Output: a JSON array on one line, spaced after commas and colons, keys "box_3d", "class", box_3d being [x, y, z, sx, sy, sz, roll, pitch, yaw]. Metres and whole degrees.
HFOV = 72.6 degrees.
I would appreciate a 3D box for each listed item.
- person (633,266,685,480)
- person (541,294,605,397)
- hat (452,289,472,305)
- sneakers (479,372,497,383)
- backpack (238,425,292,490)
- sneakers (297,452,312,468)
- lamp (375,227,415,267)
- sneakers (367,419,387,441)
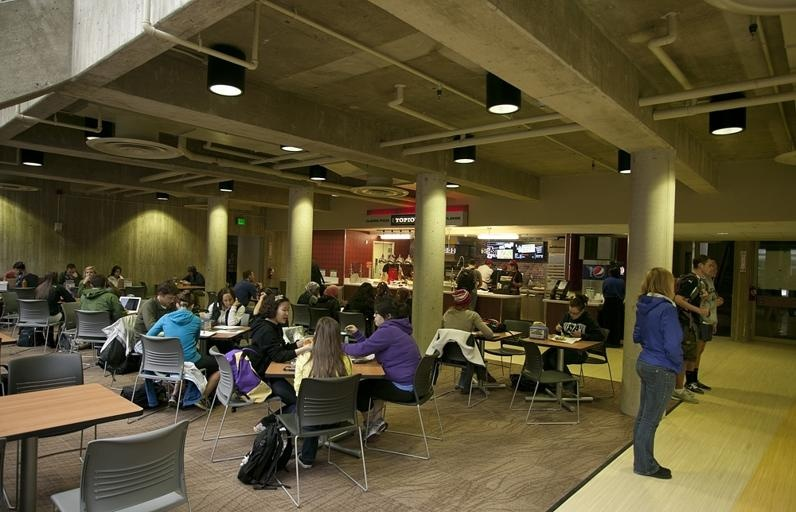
[{"box_3d": [3.011, 1.382, 6.363, 0.473, 2.421, 0.561, 2, 12, -3], "class": "person"}, {"box_3d": [2.673, 1.404, 8.646, 0.882, 1.492, 0.898, -4, 12, -27], "class": "person"}, {"box_3d": [1.024, 0.662, 8.585, 0.270, 0.231, 0.238, -17, -29, 3], "class": "hat"}, {"box_3d": [1.452, 2.028, 9.000, 0.147, 0.182, 0.495, -2, -6, 35], "class": "sneakers"}, {"box_3d": [-1.478, 2.304, 6.116, 0.375, 0.615, 0.469, 22, -17, 20], "class": "backpack"}, {"box_3d": [-1.082, 2.398, 6.356, 0.177, 0.139, 0.118, 2, 12, -3], "class": "sneakers"}, {"box_3d": [-0.068, -0.320, 17.777, 1.210, 1.090, 0.648, -4, -11, 29], "class": "lamp"}, {"box_3d": [-0.333, 2.218, 6.937, 0.142, 0.171, 0.404, -30, -13, 32], "class": "sneakers"}]
